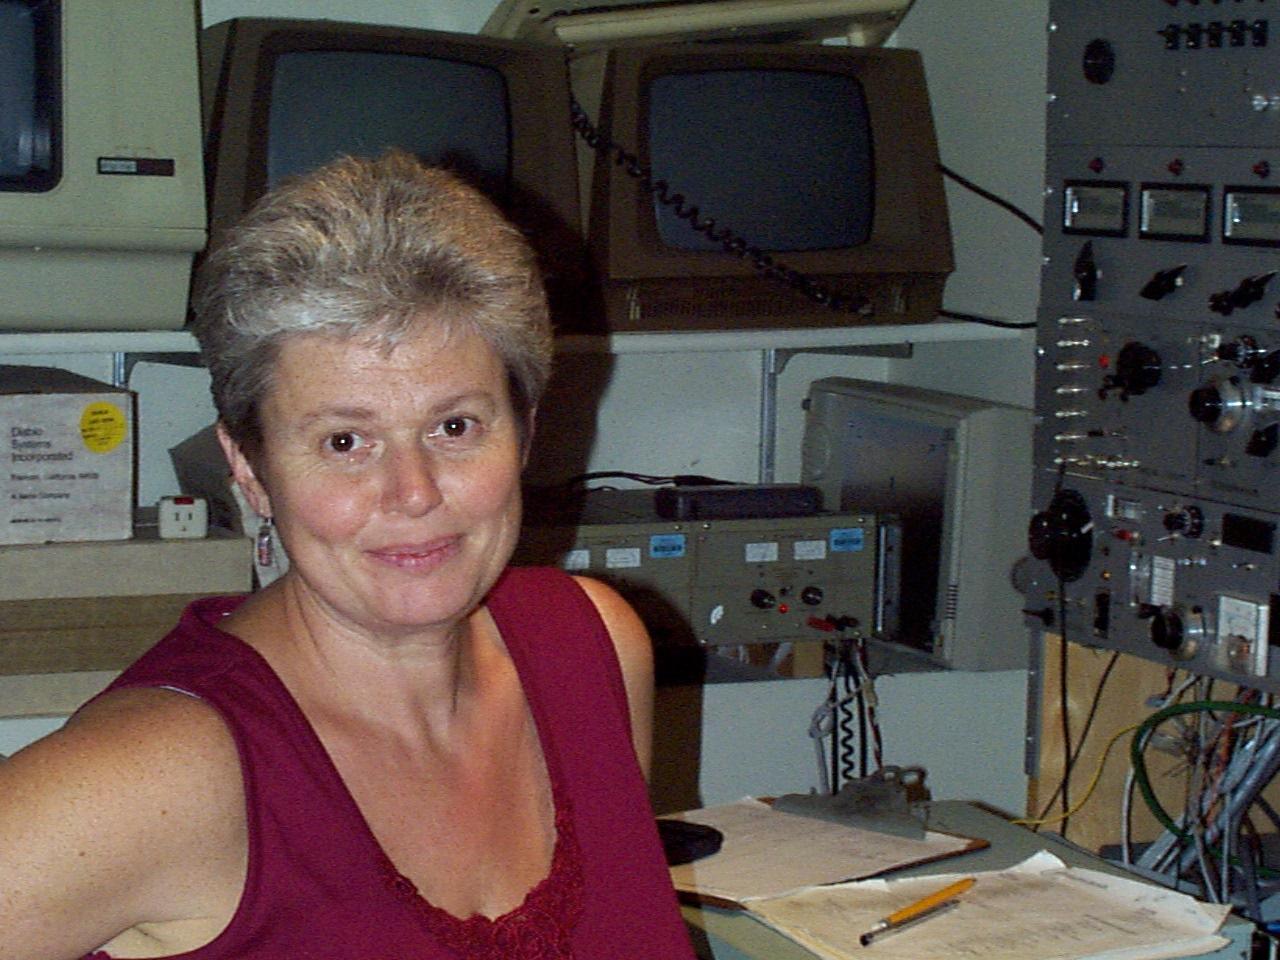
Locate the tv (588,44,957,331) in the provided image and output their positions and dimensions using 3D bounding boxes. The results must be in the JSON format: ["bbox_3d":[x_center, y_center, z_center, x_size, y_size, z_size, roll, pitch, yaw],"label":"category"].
[{"bbox_3d":[0.214,-0.531,2.176,0.813,0.450,0.370,0,-5,-13],"label":"tv"}]
